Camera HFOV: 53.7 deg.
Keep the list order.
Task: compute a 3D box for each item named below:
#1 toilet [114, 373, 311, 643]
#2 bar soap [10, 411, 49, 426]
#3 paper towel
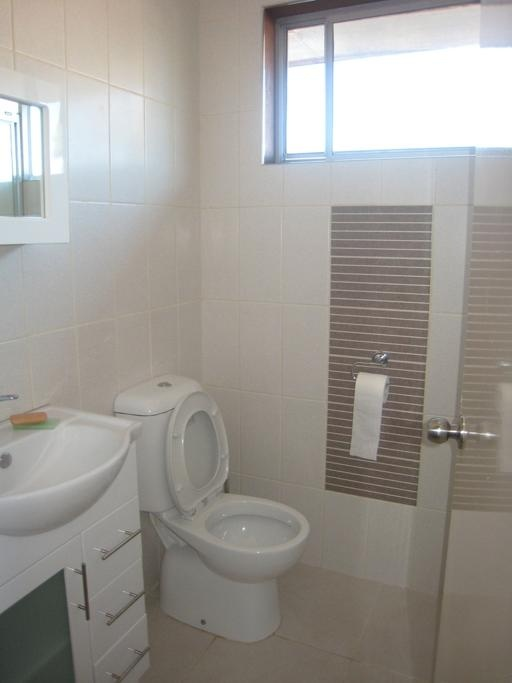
[{"bbox_3d":[-0.129,0.593,1.811,0.557,0.904,0.363,-2,5,32],"label":"toilet"},{"bbox_3d":[-0.571,0.186,1.258,0.067,0.031,0.040,-2,16,-6],"label":"bar soap"},{"bbox_3d":[0.423,0.271,1.932,0.125,0.365,0.131,16,34,28],"label":"paper towel"}]
